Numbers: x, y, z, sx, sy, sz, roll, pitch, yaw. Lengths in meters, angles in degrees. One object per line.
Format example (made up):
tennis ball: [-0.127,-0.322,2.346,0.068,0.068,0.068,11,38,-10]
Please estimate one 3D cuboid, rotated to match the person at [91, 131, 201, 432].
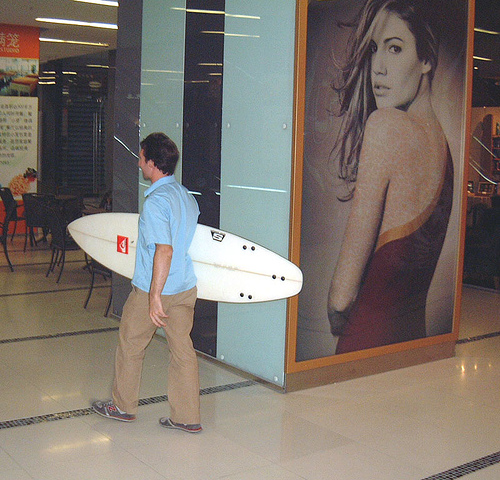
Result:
person: [-0.406,0.193,2.311,0.343,1.334,0.432,-2,5,-44]
